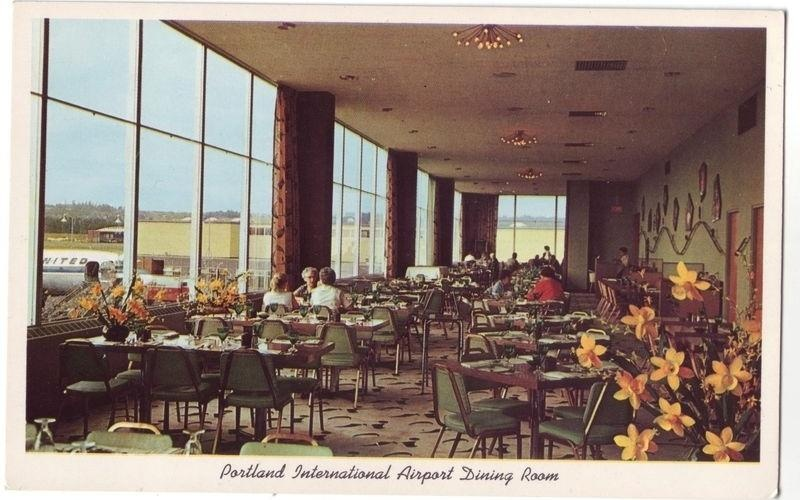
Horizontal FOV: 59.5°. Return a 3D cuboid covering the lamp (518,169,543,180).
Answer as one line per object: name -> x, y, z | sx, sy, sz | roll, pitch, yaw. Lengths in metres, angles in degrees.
lamp -> 4.239, -2.385, 22.511 | 0.523, 0.188, 0.505 | 0, -5, 6
